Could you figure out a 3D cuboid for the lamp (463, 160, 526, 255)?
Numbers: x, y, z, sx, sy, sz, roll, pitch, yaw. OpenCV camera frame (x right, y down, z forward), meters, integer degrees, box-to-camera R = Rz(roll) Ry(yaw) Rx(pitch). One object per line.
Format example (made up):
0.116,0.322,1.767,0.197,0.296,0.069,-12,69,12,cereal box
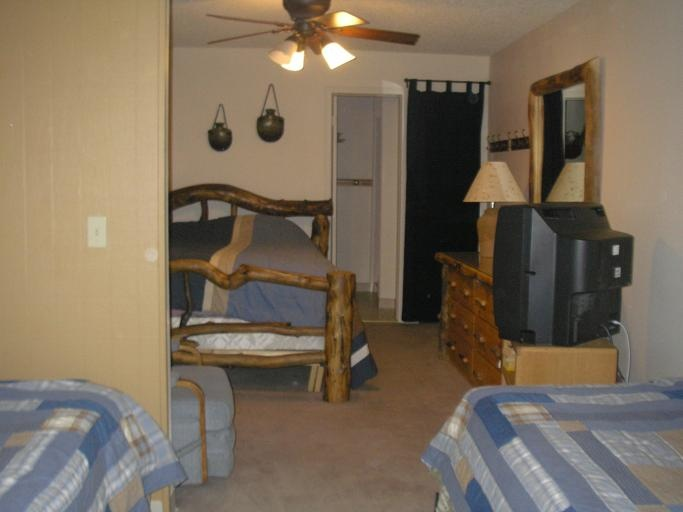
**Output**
1.054,-0.329,4.370,0.486,0.683,0.453,6,-1,20,lamp

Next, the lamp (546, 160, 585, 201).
1.434,-0.450,3.855,0.049,0.221,0.193,10,3,-17,lamp

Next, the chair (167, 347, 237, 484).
-0.663,0.772,3.008,0.432,0.436,0.642,2,9,-8,chair

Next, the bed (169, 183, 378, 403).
-0.525,0.223,4.576,1.342,0.807,1.669,0,9,1,bed

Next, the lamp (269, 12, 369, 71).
-0.165,-1.297,3.561,0.382,0.162,0.353,-19,26,-35,lamp

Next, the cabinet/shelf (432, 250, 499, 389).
0.845,0.447,4.138,0.314,0.543,0.844,0,7,-1,cabinet/shelf
